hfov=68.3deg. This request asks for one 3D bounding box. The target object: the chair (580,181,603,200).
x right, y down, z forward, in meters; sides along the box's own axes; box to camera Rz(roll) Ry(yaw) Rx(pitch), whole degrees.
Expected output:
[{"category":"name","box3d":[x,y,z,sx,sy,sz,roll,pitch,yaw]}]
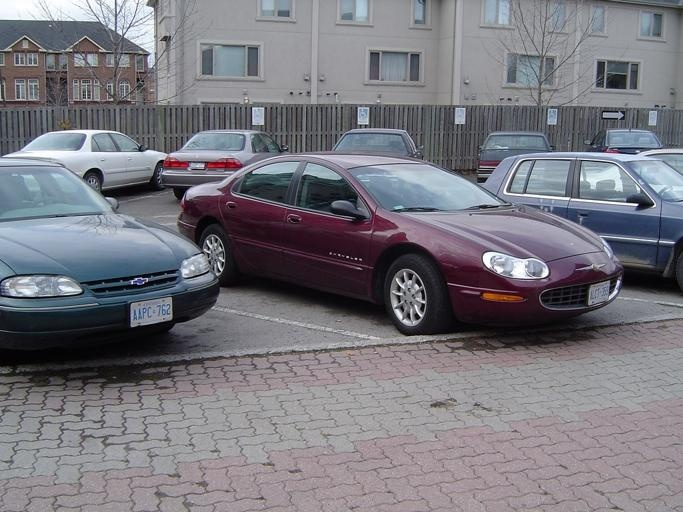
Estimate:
[{"category":"chair","box3d":[3.808,-1.010,7.840,0.376,0.261,0.335,-4,7,-41]}]

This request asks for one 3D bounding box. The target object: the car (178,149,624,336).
[{"category":"car","box3d":[0.601,-0.279,6.280,4.556,1.973,1.679,8,12,37]}]

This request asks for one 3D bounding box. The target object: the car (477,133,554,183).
[{"category":"car","box3d":[6.027,-3.633,18.235,2.462,1.125,3.473,0,11,10]}]
